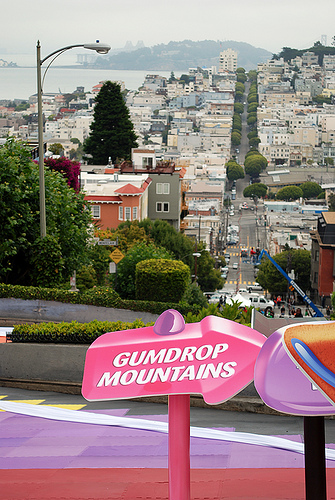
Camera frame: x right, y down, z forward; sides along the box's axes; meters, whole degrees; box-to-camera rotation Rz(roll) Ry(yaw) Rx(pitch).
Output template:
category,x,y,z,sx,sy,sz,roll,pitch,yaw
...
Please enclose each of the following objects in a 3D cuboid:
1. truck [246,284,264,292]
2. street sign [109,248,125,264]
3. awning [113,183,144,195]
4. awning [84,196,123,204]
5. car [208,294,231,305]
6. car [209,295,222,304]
category,x,y,z,sx,sy,sz,roll,pitch,yaw
truck,8.520,3.561,119.095,1.718,0.904,1.128,-2,5,1
street sign,-1.957,0.227,48.683,0.606,0.683,0.070,5,-6,-12
awning,-2.138,-3.571,72.685,1.208,0.639,2.327,3,10,22
awning,-3.711,-2.965,72.860,2.245,0.518,0.727,5,10,32
car,3.879,3.420,87.617,1.687,0.881,1.106,-1,1,9
car,3.397,3.375,86.857,0.882,0.865,1.631,0,-4,1
